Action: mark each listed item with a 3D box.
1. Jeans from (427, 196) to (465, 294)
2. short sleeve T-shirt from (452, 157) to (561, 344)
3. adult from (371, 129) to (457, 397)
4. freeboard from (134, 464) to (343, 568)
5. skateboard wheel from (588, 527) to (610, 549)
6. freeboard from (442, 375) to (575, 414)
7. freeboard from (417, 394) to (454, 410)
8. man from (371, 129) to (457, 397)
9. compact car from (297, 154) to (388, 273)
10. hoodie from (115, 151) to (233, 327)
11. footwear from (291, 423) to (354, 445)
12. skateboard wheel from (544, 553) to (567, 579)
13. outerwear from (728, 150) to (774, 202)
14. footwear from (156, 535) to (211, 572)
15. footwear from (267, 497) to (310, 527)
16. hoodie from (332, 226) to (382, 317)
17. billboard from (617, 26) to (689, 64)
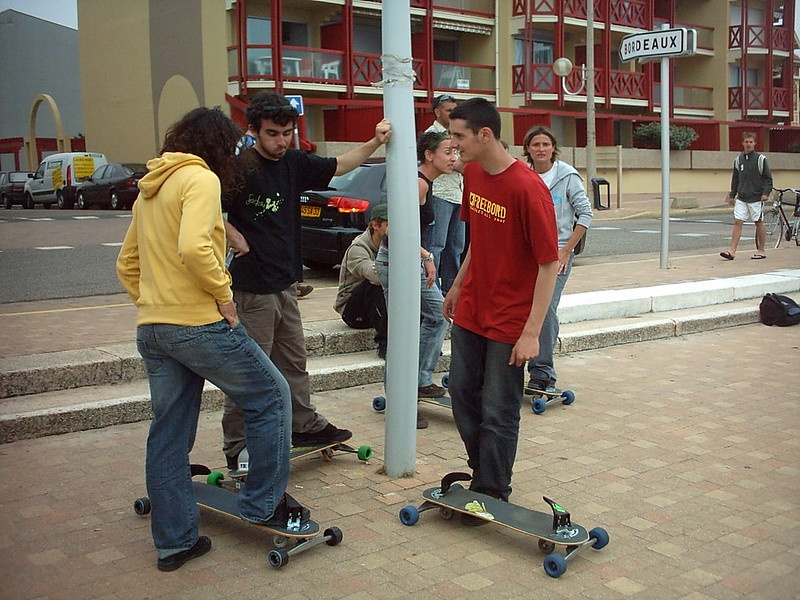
[{"bbox_3d":[0.460,-0.558,7.682,0.279,0.978,0.231,10,-30,-7],"label":"Jeans"},{"bbox_3d":[0.675,-0.314,5.107,0.677,1.127,0.360,6,13,25],"label":"short sleeve T-shirt"},{"bbox_3d":[0.191,-0.281,6.815,0.905,2.270,0.836,-2,0,29],"label":"adult"},{"bbox_3d":[-1.033,1.128,5.013,1.506,0.231,0.535,13,21,40],"label":"freeboard"},{"bbox_3d":[1.188,1.448,4.810,0.076,0.086,0.097,-37,-5,26],"label":"skateboard wheel"},{"bbox_3d":[0.796,0.717,5.920,0.340,0.163,0.897,-8,18,-39],"label":"freeboard"},{"bbox_3d":[0.319,0.879,6.926,0.137,0.124,0.377,-6,13,-42],"label":"freeboard"},{"bbox_3d":[0.203,-0.291,6.839,0.892,2.218,0.847,0,8,14],"label":"man"},{"bbox_3d":[-0.893,-1.207,11.632,0.903,0.896,1.908,13,24,42],"label":"compact car"},{"bbox_3d":[-1.285,-0.348,4.594,0.710,0.979,0.402,9,15,34],"label":"hoodie"},{"bbox_3d":[-0.572,1.011,5.958,0.436,0.213,0.162,-5,9,-14],"label":"footwear"},{"bbox_3d":[0.889,1.545,4.596,0.115,0.125,0.065,7,3,24],"label":"skateboard wheel"},{"bbox_3d":[6.460,-2.279,14.758,0.649,0.921,0.566,7,14,25],"label":"outerwear"},{"bbox_3d":[-1.269,1.480,4.738,0.112,0.134,0.306,13,23,34],"label":"footwear"},{"bbox_3d":[-0.658,1.282,4.814,0.307,0.172,0.115,0,10,-2],"label":"footwear"},{"bbox_3d":[-0.484,-0.258,8.034,0.483,0.671,0.544,10,30,0],"label":"hoodie"},{"bbox_3d":[4.364,-4.388,13.641,0.506,0.502,1.516,-4,14,-19],"label":"billboard"}]
